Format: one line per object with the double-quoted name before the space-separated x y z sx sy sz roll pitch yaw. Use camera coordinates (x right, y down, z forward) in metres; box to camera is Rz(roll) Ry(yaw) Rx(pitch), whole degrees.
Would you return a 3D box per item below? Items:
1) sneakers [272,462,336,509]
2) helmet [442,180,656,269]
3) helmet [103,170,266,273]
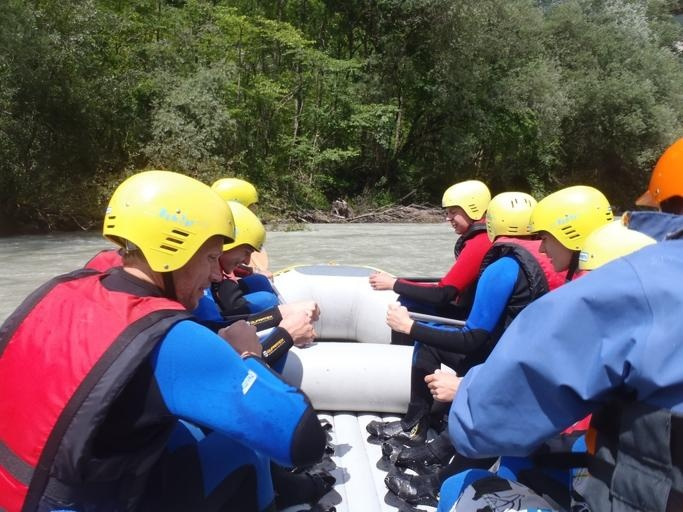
"sneakers" -0.192 1.126 3.430 0.414 0.161 0.140 9 45 -53
"helmet" 1.100 -0.144 3.136 0.475 0.394 0.359 -17 -4 31
"helmet" -0.578 -0.129 2.498 0.495 0.260 0.301 2 10 -21
